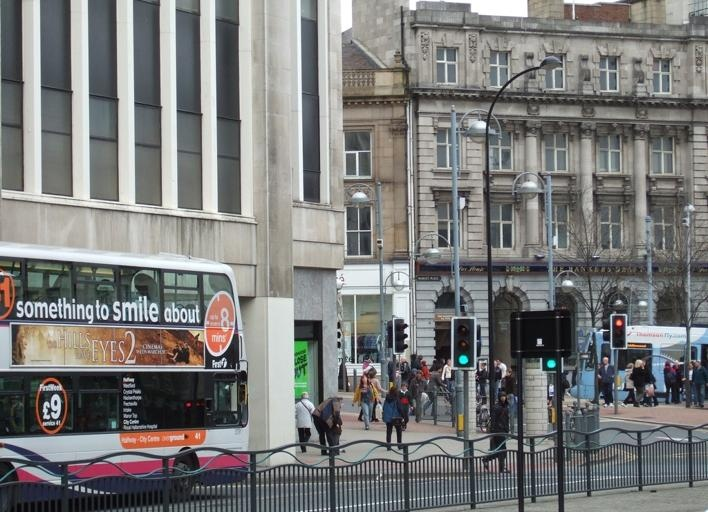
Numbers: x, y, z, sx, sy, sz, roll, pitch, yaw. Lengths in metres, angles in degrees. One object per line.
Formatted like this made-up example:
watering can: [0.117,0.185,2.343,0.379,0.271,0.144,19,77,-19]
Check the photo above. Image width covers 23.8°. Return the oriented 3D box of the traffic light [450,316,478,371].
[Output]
traffic light: [2.875,2.347,44.045,0.639,1.385,0.576,-3,-6,7]

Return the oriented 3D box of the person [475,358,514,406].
person: [5.001,4.566,60.353,0.963,1.838,0.996,0,-7,-39]

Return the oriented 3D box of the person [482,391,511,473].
person: [3.903,4.836,45.028,0.532,2.162,0.722,-3,-2,-7]

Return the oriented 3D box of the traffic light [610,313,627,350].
traffic light: [8.601,2.544,54.627,0.422,1.070,0.390,-6,-7,31]
